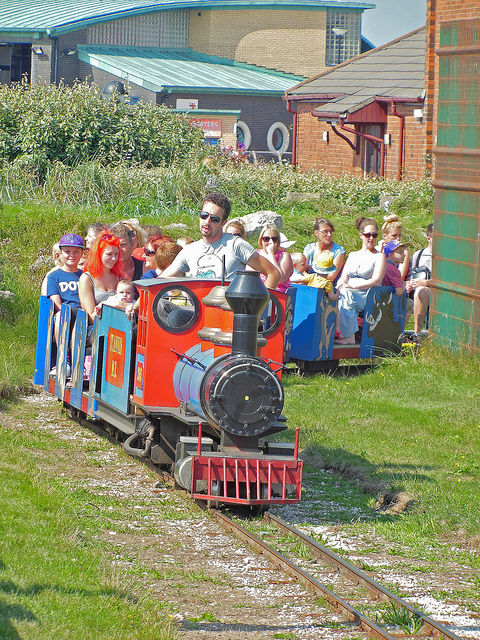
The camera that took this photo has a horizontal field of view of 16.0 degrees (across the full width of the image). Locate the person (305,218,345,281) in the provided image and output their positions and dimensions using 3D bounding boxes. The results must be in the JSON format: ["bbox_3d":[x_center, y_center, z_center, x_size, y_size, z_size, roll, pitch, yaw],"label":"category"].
[{"bbox_3d":[0.973,-0.815,18.976,0.496,0.916,0.602,-1,10,-5],"label":"person"}]

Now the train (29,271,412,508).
[{"bbox_3d":[-0.452,0.461,14.332,1.939,0.970,2.739,-3,7,-26],"label":"train"}]

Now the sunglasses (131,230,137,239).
[{"bbox_3d":[-0.996,-0.821,16.244,0.061,0.085,0.080,-4,12,-35],"label":"sunglasses"}]

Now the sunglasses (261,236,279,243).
[{"bbox_3d":[0.332,-0.842,17.669,0.172,0.070,0.096,7,12,15],"label":"sunglasses"}]
